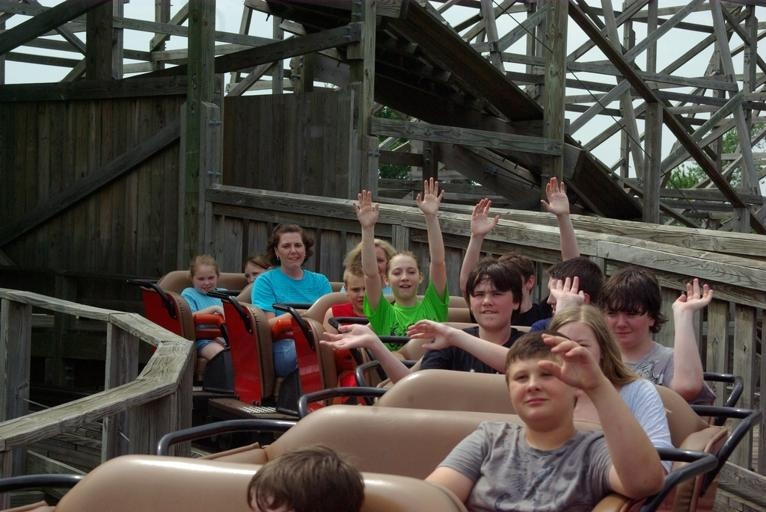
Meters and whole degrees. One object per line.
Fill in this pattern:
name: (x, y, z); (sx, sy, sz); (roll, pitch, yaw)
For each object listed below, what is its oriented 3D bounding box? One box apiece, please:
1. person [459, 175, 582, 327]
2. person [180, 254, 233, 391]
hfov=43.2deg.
person: (1.004, 0.046, 6.929); (0.857, 1.354, 0.329); (-6, -44, 17)
person: (-1.473, 0.553, 8.438); (0.528, 1.116, 0.506); (5, 11, 41)
